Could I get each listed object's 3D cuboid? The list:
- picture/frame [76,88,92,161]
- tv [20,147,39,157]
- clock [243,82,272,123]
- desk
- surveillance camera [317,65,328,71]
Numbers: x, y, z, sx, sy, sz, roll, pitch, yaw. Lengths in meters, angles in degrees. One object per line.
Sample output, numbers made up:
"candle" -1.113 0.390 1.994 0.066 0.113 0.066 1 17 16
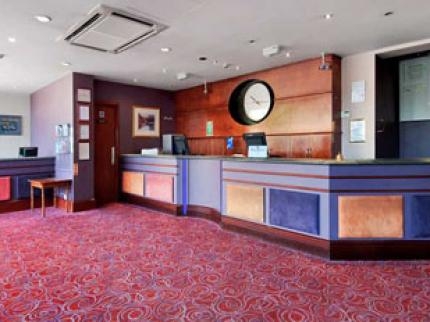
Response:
"picture/frame" -3.072 -0.877 7.405 0.415 1.701 0.170 -5 8 -35
"tv" -4.679 -0.264 7.944 0.391 0.260 0.275 0 7 -12
"clock" 1.059 -1.499 7.839 0.181 1.043 0.953 -5 9 -34
"desk" -3.781 0.750 7.402 0.908 0.872 0.906 -1 0 39
"surveillance camera" 2.150 -1.909 6.262 0.202 0.114 0.317 2 8 17
